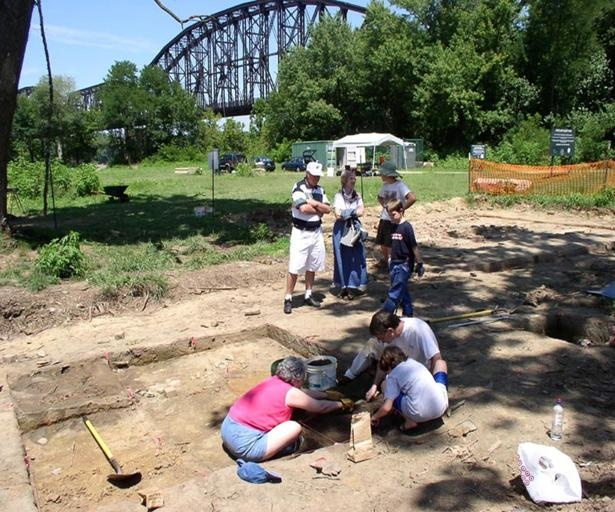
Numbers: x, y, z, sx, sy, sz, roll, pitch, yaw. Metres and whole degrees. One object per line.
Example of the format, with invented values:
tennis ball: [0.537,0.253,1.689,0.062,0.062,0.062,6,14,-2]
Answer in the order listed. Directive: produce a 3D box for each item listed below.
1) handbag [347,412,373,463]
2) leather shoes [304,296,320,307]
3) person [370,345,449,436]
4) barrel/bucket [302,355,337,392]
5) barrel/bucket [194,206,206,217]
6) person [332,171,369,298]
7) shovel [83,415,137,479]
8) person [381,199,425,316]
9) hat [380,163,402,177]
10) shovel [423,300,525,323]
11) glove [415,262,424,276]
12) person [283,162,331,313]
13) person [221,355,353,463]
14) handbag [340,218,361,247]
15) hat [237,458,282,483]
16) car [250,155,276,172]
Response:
handbag: [0.495,1.588,4.674,0.307,0.424,0.235,-5,9,-19]
leather shoes: [0.073,0.708,8.114,0.112,0.124,0.305,-9,13,-41]
person: [0.972,1.284,4.955,0.699,0.758,0.506,1,9,18]
barrel/bucket: [0.146,1.379,5.923,0.363,0.260,0.343,-7,-4,-1]
barrel/bucket: [-3.367,-1.400,16.287,0.360,0.355,0.355,0,-2,0]
person: [0.659,-0.341,8.209,0.533,2.046,0.819,-1,9,4]
shovel: [-1.992,1.838,5.050,1.049,0.108,0.317,30,6,42]
person: [1.252,0.092,6.758,0.499,1.621,1.282,0,9,12]
hat: [1.341,-1.423,8.561,0.283,0.264,0.457,0,8,9]
shovel: [2.244,0.817,7.131,1.084,0.146,0.442,-9,-25,-9]
glove: [1.474,0.164,6.850,0.142,0.231,0.166,-2,6,6]
person: [-0.017,-0.321,8.085,0.771,2.266,0.942,-2,9,-1]
person: [-0.215,1.453,5.149,1.269,0.834,0.842,-7,12,-30]
handbag: [0.667,-0.339,7.892,0.232,0.350,0.132,2,-29,42]
hat: [-0.434,1.840,4.401,0.226,0.077,0.184,9,3,2]
car: [-3.068,-6.837,39.317,0.998,0.691,2.105,-6,21,-24]
